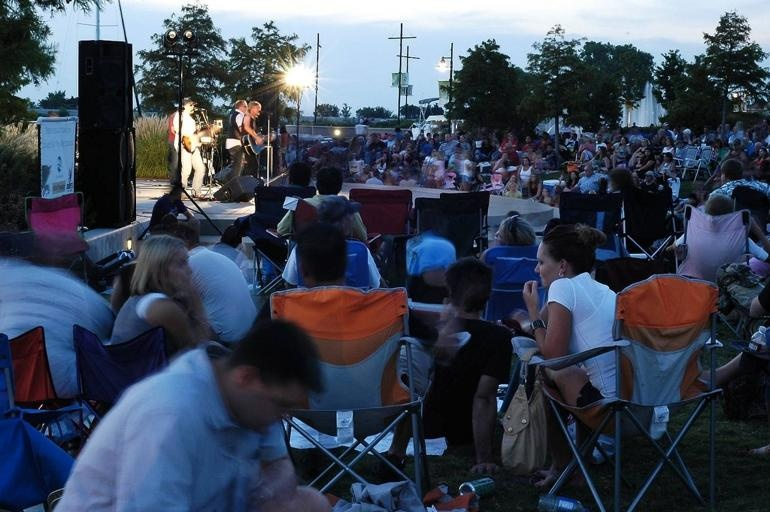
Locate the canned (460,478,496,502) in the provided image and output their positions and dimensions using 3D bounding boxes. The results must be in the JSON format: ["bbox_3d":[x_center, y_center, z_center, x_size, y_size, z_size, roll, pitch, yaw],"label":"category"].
[{"bbox_3d":[0.600,1.495,4.852,0.211,0.155,0.130,-3,4,-40],"label":"canned"}]

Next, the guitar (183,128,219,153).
[{"bbox_3d":[-4.207,-2.594,16.916,0.149,0.499,1.195,-1,14,22],"label":"guitar"}]

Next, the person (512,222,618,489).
[{"bbox_3d":[1.209,0.668,4.951,0.584,1.718,0.550,1,5,13],"label":"person"}]

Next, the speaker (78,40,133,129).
[{"bbox_3d":[-4.174,-2.516,11.121,0.764,1.283,0.413,-3,6,-26],"label":"speaker"}]

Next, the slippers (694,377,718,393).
[{"bbox_3d":[2.094,0.844,4.929,0.094,0.076,0.131,5,-8,1],"label":"slippers"}]

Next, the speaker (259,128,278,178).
[{"bbox_3d":[-2.969,-2.627,19.425,0.157,1.378,0.602,0,-6,17],"label":"speaker"}]
